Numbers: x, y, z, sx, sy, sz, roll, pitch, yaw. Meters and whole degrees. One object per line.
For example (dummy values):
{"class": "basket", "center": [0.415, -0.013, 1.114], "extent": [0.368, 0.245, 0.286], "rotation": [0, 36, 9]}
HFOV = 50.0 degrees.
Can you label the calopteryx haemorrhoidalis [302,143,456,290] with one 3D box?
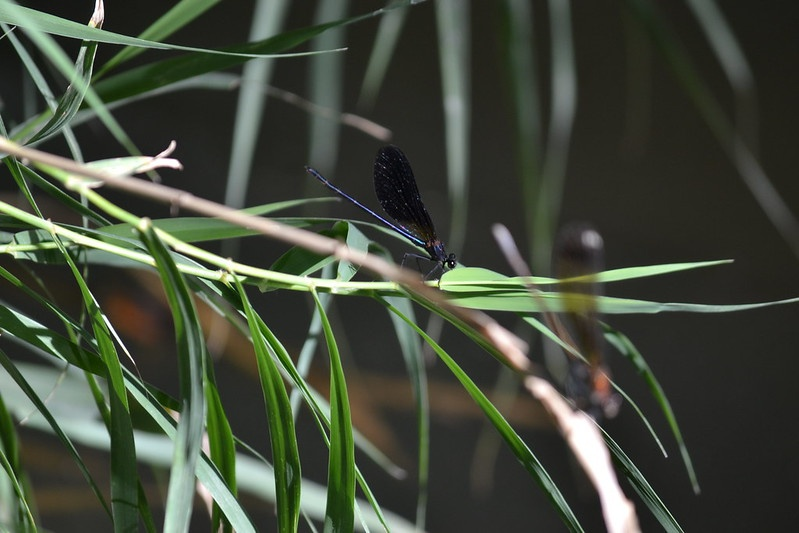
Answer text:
{"class": "calopteryx haemorrhoidalis", "center": [0.000, -0.096, 1.148], "extent": [0.186, 0.096, 0.174], "rotation": [27, -24, 16]}
